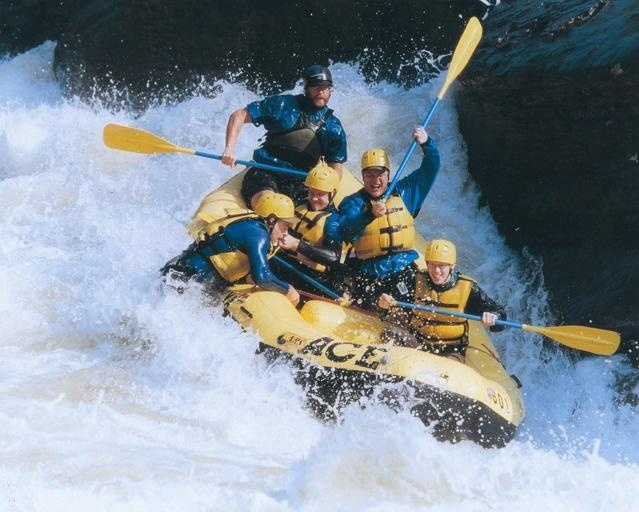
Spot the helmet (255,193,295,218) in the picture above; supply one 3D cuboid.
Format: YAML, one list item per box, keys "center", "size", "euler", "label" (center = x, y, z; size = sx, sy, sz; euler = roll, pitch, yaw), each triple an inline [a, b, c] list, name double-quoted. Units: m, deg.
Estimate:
- center: [-0.385, -0.451, 8.556]
  size: [0.289, 0.160, 0.210]
  euler: [3, 36, -7]
  label: "helmet"

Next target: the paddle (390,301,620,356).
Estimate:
- center: [1.655, 0.669, 8.736]
  size: [1.967, 0.075, 0.220]
  euler: [13, 105, 8]
  label: "paddle"

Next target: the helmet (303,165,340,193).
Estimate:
- center: [0.041, -0.685, 8.799]
  size: [0.224, 0.140, 0.283]
  euler: [23, 37, 7]
  label: "helmet"

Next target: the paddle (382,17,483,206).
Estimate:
- center: [1.218, -1.530, 10.175]
  size: [0.237, 0.096, 2.599]
  euler: [36, 95, 7]
  label: "paddle"

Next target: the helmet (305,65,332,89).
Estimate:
- center: [-0.009, -1.700, 9.110]
  size: [0.237, 0.340, 0.319]
  euler: [1, 80, 1]
  label: "helmet"

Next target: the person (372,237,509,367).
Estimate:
- center: [1.041, 0.453, 8.654]
  size: [1.091, 0.568, 1.547]
  euler: [4, 80, 15]
  label: "person"

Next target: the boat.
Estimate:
- center: [0.197, 0.753, 8.300]
  size: [1.737, 0.580, 2.864]
  euler: [-25, 60, -39]
  label: "boat"
